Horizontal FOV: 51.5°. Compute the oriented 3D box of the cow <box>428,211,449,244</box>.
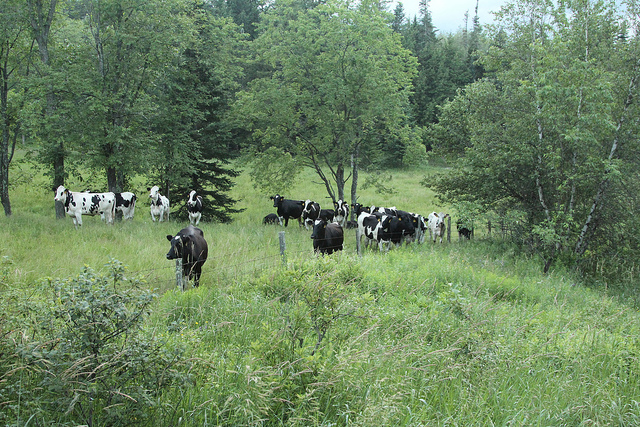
[{"bbox_3d":[6.282,0.722,35.323,0.913,1.538,1.552,4,5,10],"label":"cow"}]

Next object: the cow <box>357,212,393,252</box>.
[{"bbox_3d":[2.736,0.878,31.323,0.952,1.930,3.005,-6,9,-29],"label":"cow"}]

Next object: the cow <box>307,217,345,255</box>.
[{"bbox_3d":[0.292,0.966,28.328,0.756,1.445,2.234,5,5,25],"label":"cow"}]

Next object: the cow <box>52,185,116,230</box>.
[{"bbox_3d":[-11.524,-0.213,32.395,0.689,1.617,2.302,14,8,44],"label":"cow"}]

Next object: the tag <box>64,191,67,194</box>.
[{"bbox_3d":[-12.276,-1.026,31.910,0.126,0.128,0.031,-1,5,-9],"label":"tag"}]

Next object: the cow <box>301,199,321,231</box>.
[{"bbox_3d":[-0.565,0.194,35.937,0.808,1.900,3.102,5,-1,8],"label":"cow"}]

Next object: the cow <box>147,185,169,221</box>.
[{"bbox_3d":[-8.428,-0.515,34.791,0.861,1.822,2.111,2,5,-7],"label":"cow"}]

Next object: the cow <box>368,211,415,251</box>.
[{"bbox_3d":[3.401,0.881,31.131,1.513,1.614,1.947,0,6,-27],"label":"cow"}]

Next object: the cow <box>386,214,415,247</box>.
[{"bbox_3d":[3.724,0.849,30.715,0.788,1.445,1.379,7,7,41],"label":"cow"}]

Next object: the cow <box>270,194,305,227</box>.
[{"bbox_3d":[-1.738,0.022,37.300,0.919,1.636,2.990,-1,-5,33],"label":"cow"}]

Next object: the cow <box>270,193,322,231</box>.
[{"bbox_3d":[-1.400,-0.012,36.783,1.888,1.847,4.058,1,-20,6],"label":"cow"}]

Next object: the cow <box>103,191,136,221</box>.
[{"bbox_3d":[-10.449,-0.505,35.037,2.268,1.243,0.676,9,4,25],"label":"cow"}]

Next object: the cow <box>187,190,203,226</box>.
[{"bbox_3d":[-6.405,-0.322,33.864,0.671,1.679,1.205,2,5,-11],"label":"cow"}]

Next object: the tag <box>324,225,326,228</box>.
[{"bbox_3d":[0.197,0.537,28.072,0.034,0.118,0.117,5,-2,19],"label":"tag"}]
